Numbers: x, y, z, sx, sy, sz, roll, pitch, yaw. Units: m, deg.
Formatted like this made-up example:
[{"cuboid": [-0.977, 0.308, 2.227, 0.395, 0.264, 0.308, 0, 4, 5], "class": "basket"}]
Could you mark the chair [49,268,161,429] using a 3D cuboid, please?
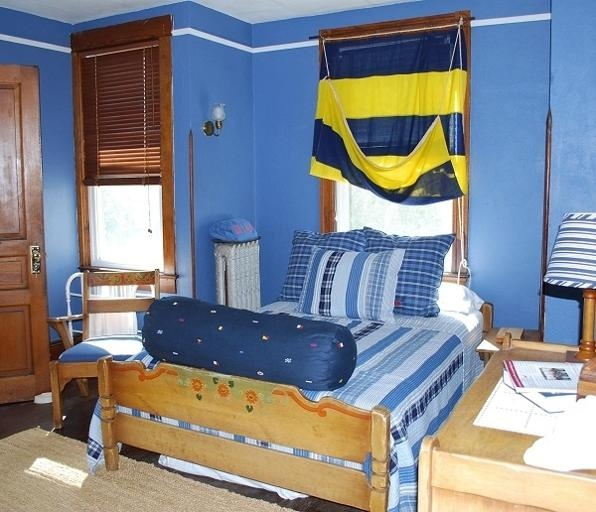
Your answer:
[{"cuboid": [-1.233, 0.576, 3.395, 0.665, 0.904, 0.693, 1, 3, -26], "class": "chair"}]

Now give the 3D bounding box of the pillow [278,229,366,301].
[{"cuboid": [0.143, 0.076, 3.851, 0.543, 0.539, 0.174, -7, -29, 40], "class": "pillow"}]

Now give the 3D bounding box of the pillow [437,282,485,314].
[{"cuboid": [1.113, 0.279, 3.638, 0.211, 0.078, 0.250, 6, 15, 26], "class": "pillow"}]

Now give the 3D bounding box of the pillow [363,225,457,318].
[{"cuboid": [0.708, 0.123, 3.590, 0.607, 0.531, 0.276, 6, 13, 20], "class": "pillow"}]

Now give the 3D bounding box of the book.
[{"cuboid": [0.839, 0.422, 1.788, 0.173, 0.046, 0.184, -2, 8, 3], "class": "book"}]

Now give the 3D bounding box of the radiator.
[{"cuboid": [-0.504, 0.134, 4.160, 0.190, 0.622, 0.488, 7, 11, 34], "class": "radiator"}]

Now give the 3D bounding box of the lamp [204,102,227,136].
[{"cuboid": [-0.629, -1.078, 4.207, 0.160, 0.258, 0.294, 3, 11, 20], "class": "lamp"}]

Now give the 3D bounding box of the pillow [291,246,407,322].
[{"cuboid": [0.318, 0.198, 3.546, 0.667, 0.461, 0.242, 5, 4, 28], "class": "pillow"}]
